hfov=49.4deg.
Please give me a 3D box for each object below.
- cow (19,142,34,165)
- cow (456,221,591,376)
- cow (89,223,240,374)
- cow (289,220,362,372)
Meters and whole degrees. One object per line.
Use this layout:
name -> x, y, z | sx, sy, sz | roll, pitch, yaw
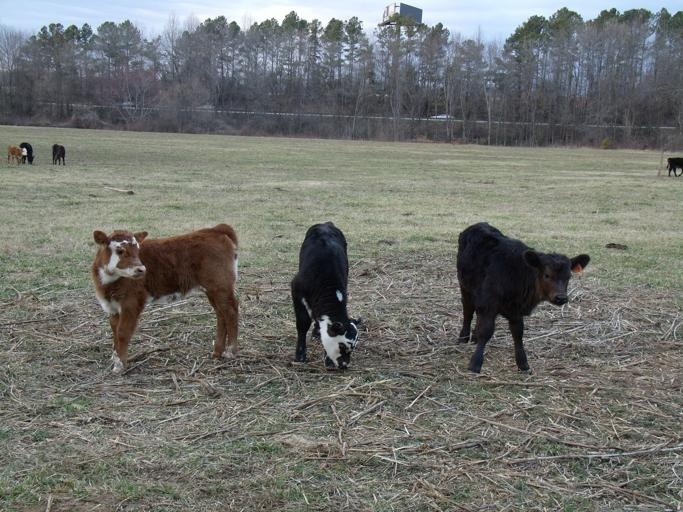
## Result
cow -> -12.373, -4.017, 29.136 | 0.419, 0.771, 1.427 | -4, 13, -23
cow -> 2.044, 0.559, 9.384 | 1.025, 1.677, 1.760 | -7, 15, -37
cow -> -2.312, 0.464, 9.481 | 2.321, 1.702, 0.698 | -1, -3, -34
cow -> -0.253, 0.536, 9.629 | 0.793, 1.498, 1.488 | 0, 12, -5
